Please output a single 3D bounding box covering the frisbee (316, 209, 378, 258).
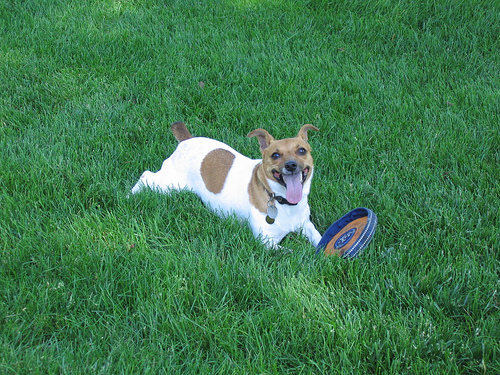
[{"bbox_3d":[0.964,0.461,5.289,0.474,0.354,0.535,32,62,29],"label":"frisbee"}]

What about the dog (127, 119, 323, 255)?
[{"bbox_3d":[-0.234,-0.260,5.976,2.077,1.255,1.166,29,35,27],"label":"dog"}]
